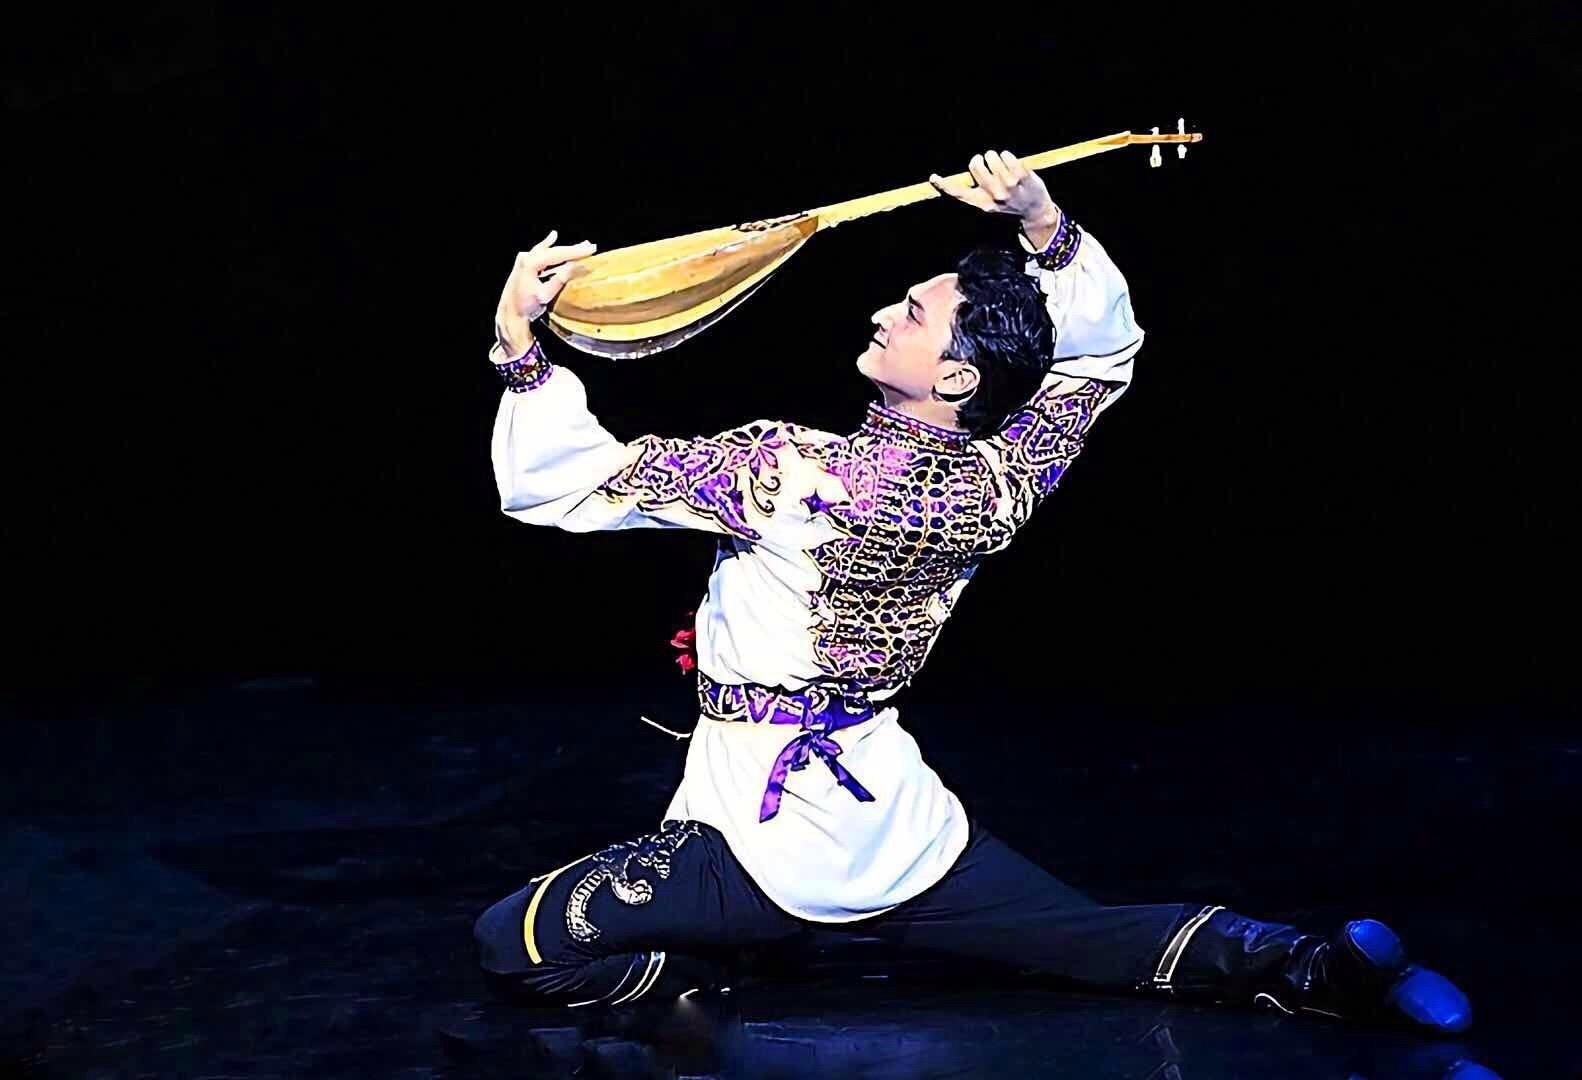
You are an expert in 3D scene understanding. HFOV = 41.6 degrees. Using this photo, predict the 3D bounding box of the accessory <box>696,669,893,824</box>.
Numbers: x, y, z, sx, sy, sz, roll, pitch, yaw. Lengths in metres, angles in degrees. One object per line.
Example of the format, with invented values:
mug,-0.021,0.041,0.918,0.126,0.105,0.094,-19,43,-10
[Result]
accessory,0.006,0.459,4.770,0.328,0.341,0.120,-10,6,-4

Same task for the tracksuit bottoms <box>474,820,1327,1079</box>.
tracksuit bottoms,0.165,0.911,4.864,1.413,0.325,0.738,7,12,19

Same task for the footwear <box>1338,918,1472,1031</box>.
footwear,1.414,1.012,4.836,0.316,0.238,0.142,2,1,6
